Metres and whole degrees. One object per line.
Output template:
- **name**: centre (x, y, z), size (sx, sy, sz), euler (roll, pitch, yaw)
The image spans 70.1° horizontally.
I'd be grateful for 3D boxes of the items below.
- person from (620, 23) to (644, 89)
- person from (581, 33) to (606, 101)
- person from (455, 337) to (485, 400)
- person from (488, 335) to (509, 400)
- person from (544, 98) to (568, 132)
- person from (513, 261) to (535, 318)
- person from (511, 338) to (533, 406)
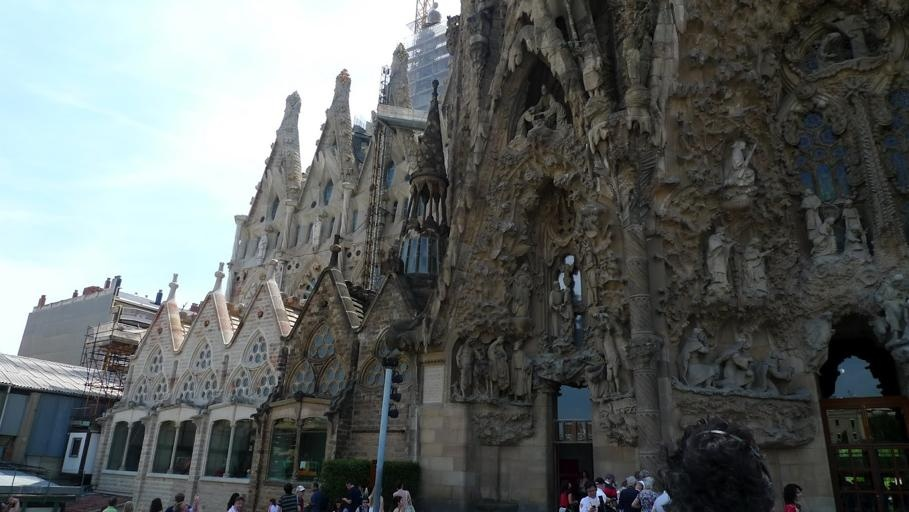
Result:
- **person**: centre (6.902, -7.630, 24.879), size (0.722, 2.547, 0.832), euler (-8, -26, 13)
- **person**: centre (5.410, -7.642, 25.652), size (0.797, 3.121, 0.607), euler (-12, -28, 21)
- **person**: centre (0.653, 4.594, 26.652), size (1.217, 2.365, 0.751), euler (-1, -26, 0)
- **person**: centre (1.840, 4.501, 26.543), size (0.808, 2.307, 0.863), euler (-6, -26, 10)
- **person**: centre (4.376, -5.936, 27.108), size (0.527, 1.175, 0.969), euler (3, 4, -34)
- **person**: centre (2.830, 1.411, 26.985), size (0.882, 2.408, 0.594), euler (0, -26, -3)
- **person**: centre (2.737, 4.631, 26.477), size (0.838, 2.282, 0.693), euler (-2, -26, 2)
